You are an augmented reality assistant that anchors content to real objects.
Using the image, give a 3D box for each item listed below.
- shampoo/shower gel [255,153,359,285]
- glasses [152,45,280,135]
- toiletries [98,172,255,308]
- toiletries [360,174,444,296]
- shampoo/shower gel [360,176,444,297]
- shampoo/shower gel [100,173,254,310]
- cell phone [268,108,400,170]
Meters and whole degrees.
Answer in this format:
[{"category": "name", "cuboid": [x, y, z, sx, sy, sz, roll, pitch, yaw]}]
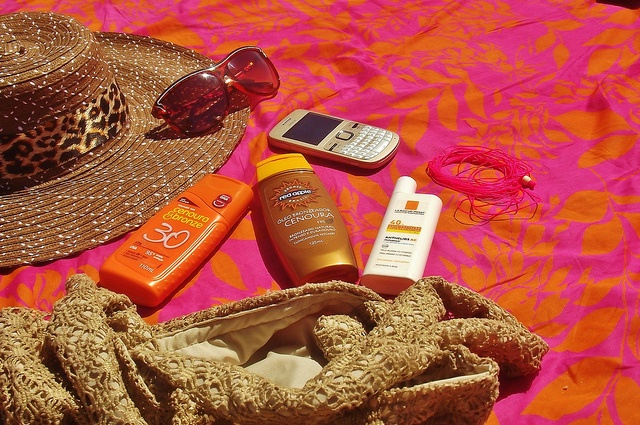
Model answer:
[{"category": "shampoo/shower gel", "cuboid": [-0.030, 0.009, 0.958, 0.133, 0.074, 0.235, -13, 65, -17]}, {"category": "glasses", "cuboid": [-0.203, -0.239, 1.134, 0.082, 0.111, 0.307, -14, 22, 47]}, {"category": "toiletries", "cuboid": [-0.223, 0.030, 0.945, 0.137, 0.061, 0.250, 24, 58, 27]}, {"category": "toiletries", "cuboid": [0.145, 0.026, 0.947, 0.107, 0.047, 0.191, 8, 66, 20]}, {"category": "shampoo/shower gel", "cuboid": [0.140, 0.036, 0.932, 0.101, 0.046, 0.197, 8, 48, 28]}, {"category": "shampoo/shower gel", "cuboid": [-0.221, 0.030, 0.943, 0.135, 0.060, 0.252, 28, 62, 29]}, {"category": "cell phone", "cuboid": [0.028, -0.138, 1.063, 0.219, 0.032, 0.107, 14, 40, 14]}]
